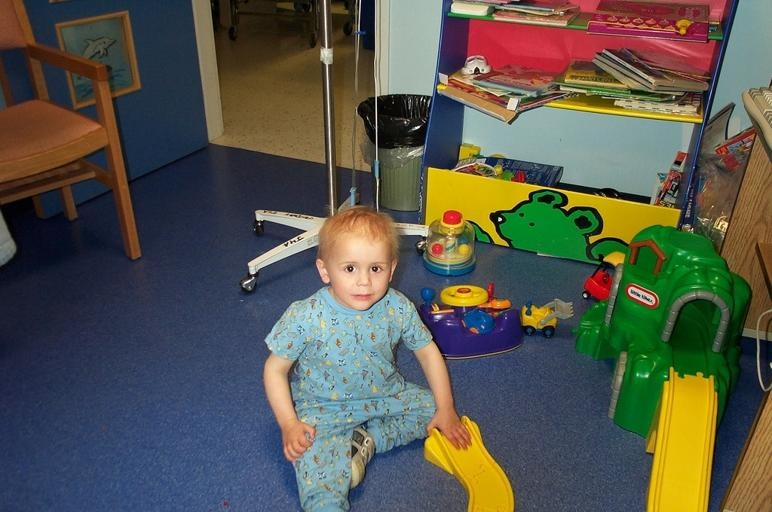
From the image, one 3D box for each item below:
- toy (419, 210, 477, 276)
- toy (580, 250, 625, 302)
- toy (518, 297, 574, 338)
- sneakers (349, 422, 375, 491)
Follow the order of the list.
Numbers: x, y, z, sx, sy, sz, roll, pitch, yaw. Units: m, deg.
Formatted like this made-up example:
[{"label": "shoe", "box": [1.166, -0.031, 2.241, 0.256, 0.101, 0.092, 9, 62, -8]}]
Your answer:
[{"label": "toy", "box": [0.268, -0.070, 2.774, 0.276, 0.290, 0.295, -2, 35, -2]}, {"label": "toy", "box": [0.947, 0.089, 2.497, 0.164, 0.180, 0.118, 38, 34, 27]}, {"label": "toy", "box": [0.667, 0.240, 2.440, 0.219, 0.146, 0.135, 3, 35, 3]}, {"label": "sneakers", "box": [-0.078, 0.676, 1.903, 0.058, 0.096, 0.161, -4, 50, 37]}]
